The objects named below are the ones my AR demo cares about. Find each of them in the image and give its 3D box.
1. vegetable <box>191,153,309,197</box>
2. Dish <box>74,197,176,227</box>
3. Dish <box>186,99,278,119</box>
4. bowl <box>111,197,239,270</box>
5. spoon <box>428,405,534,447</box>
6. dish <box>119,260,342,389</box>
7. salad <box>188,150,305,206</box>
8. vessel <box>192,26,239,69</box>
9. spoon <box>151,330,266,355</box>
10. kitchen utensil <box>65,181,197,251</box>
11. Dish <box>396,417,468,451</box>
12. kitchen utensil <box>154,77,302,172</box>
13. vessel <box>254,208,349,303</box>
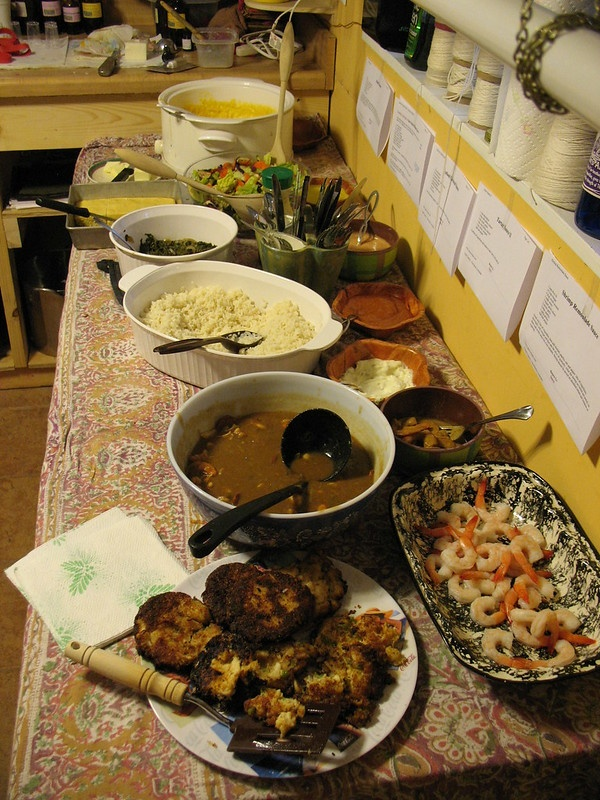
[{"bbox_3d":[-0.154,-0.559,1.606,0.213,0.063,0.194,-1,31,-3],"label":"vegetable"},{"bbox_3d":[-0.447,-0.485,1.617,0.200,0.033,0.115,-4,40,-3],"label":"Dish"},{"bbox_3d":[-0.200,-0.853,1.886,0.195,0.030,0.188,-10,28,-27],"label":"Dish"},{"bbox_3d":[-0.259,-0.330,1.427,0.222,0.069,0.204,1,44,-1],"label":"bowl"},{"bbox_3d":[0.285,0.037,0.985,0.117,0.019,0.068,-19,17,20],"label":"spoon"},{"bbox_3d":[-0.134,-0.150,1.163,0.436,0.098,0.251,20,53,16],"label":"dish"},{"bbox_3d":[-0.152,-0.578,1.596,0.225,0.080,0.208,-6,31,-10],"label":"salad"},{"bbox_3d":[-0.316,-1.266,2.376,0.218,0.115,0.149,-4,54,-3],"label":"vessel"},{"bbox_3d":[-0.148,-0.099,1.099,0.200,0.032,0.065,-9,19,-27],"label":"spoon"},{"bbox_3d":[-0.436,-0.489,1.628,0.241,0.064,0.232,-1,45,-4],"label":"kitchen utensil"},{"bbox_3d":[0.200,0.050,0.987,0.069,0.025,0.060,9,27,-5],"label":"Dish"},{"bbox_3d":[-0.212,-0.737,1.741,0.386,0.180,0.429,11,41,13],"label":"kitchen utensil"},{"bbox_3d":[0.001,-0.268,1.284,0.177,0.118,0.142,15,33,-22],"label":"vessel"}]
